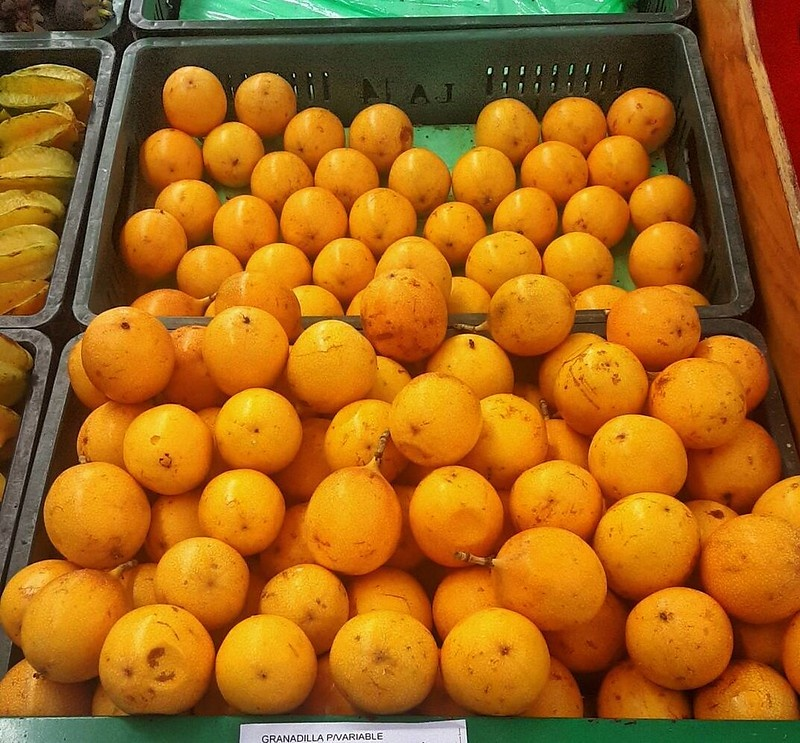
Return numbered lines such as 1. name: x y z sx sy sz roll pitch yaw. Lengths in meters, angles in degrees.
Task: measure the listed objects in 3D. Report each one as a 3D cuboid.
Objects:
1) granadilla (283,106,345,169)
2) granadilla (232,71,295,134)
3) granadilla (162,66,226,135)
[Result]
1. granadilla: -0.246 -0.741 2.607 0.173 0.213 0.179 5 24 9
2. granadilla: -0.419 -0.827 2.607 0.184 0.181 0.190 -3 87 4
3. granadilla: -0.648 -0.833 2.554 0.132 0.160 0.134 26 62 18
